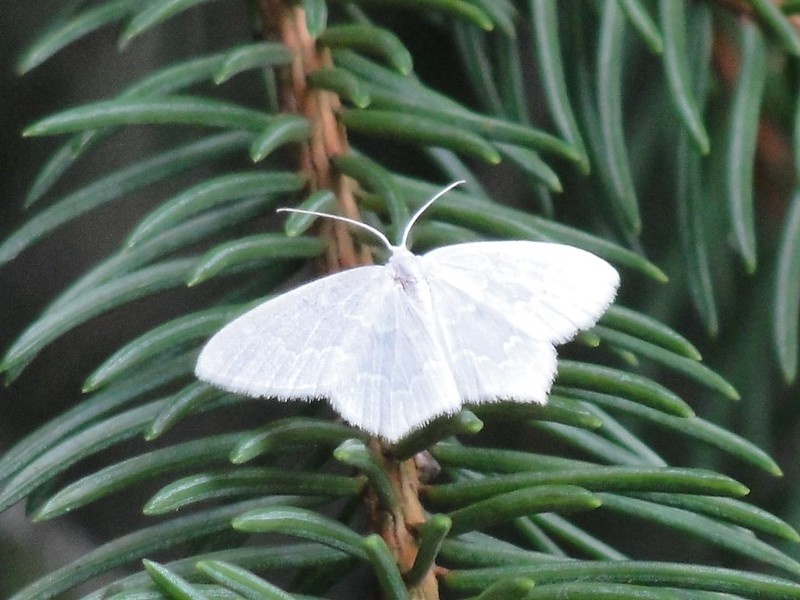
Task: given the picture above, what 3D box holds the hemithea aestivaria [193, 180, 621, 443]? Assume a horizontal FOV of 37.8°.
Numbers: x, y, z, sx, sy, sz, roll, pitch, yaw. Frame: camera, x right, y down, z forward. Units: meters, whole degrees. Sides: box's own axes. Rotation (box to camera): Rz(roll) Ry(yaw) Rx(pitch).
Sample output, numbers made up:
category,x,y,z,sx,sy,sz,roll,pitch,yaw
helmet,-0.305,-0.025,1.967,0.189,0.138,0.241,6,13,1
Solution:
category,x,y,z,sx,sy,sz,roll,pitch,yaw
hemithea aestivaria,0.008,0.017,1.059,0.364,0.202,0.217,-20,16,-40
